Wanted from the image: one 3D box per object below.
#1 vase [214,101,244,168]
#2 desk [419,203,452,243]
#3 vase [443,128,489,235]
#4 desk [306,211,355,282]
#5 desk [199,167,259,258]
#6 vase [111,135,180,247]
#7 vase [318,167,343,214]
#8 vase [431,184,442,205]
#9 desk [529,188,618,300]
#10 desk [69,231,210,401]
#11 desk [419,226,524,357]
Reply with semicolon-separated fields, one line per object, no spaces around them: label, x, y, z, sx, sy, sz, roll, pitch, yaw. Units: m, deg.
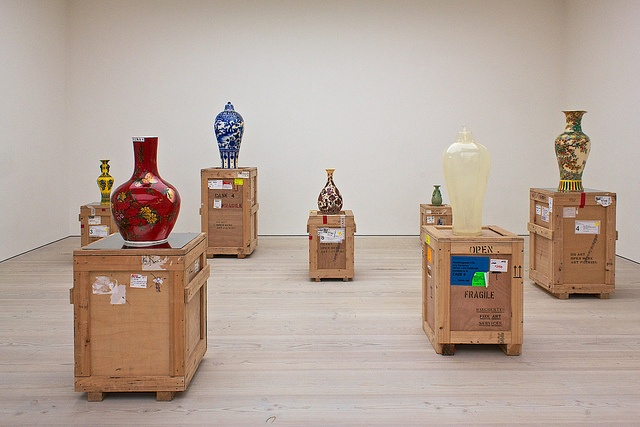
vase;-1.357;-1.096;9.879;0.392;0.827;0.189;-1;9;-10
desk;1.796;0.108;10.270;0.453;0.601;0.474;-5;22;-11
vase;1.443;-0.317;6.564;0.438;1.059;0.231;2;9;14
desk;0.193;0.392;8.879;0.705;1.037;0.748;-1;4;0
desk;-1.343;-0.041;10.000;0.831;1.252;0.833;1;10;-6
vase;-1.625;-0.202;6.144;0.607;0.984;0.597;4;4;29
vase;0.132;-0.295;8.673;0.280;0.567;0.431;0;9;2
vase;1.815;-0.272;10.245;0.132;0.301;0.245;2;9;15
desk;3.107;0.352;8.181;0.829;1.238;0.890;-1;5;2
desk;-1.736;0.987;6.707;1.049;1.352;1.770;0;0;-5
desk;1.558;0.828;7.008;0.857;1.133;1.195;2;-3;-1
